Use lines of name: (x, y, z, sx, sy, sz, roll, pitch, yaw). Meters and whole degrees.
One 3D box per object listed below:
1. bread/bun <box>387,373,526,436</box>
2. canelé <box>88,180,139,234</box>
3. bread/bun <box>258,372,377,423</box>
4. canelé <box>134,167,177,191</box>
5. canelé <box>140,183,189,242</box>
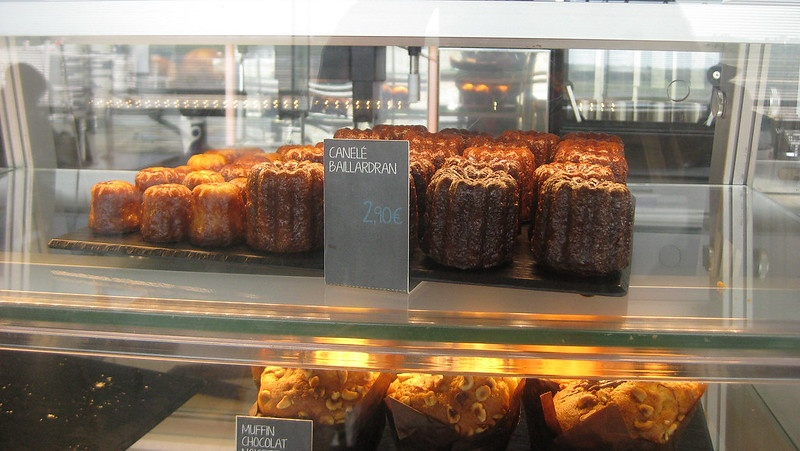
bread/bun: (0.135, 0.430, 1.708, 0.248, 0.073, 0.221, 0, 3, 36)
canelé: (-0.898, -0.057, 2.053, 0.175, 0.159, 0.171, 1, 3, -20)
bread/bun: (-0.247, 0.443, 1.712, 0.246, 0.078, 0.176, 0, 0, 5)
canelé: (-0.835, -0.164, 2.176, 0.106, 0.055, 0.101, -4, 12, -20)
canelé: (-0.744, -0.039, 2.064, 0.182, 0.162, 0.180, 7, 9, 37)
